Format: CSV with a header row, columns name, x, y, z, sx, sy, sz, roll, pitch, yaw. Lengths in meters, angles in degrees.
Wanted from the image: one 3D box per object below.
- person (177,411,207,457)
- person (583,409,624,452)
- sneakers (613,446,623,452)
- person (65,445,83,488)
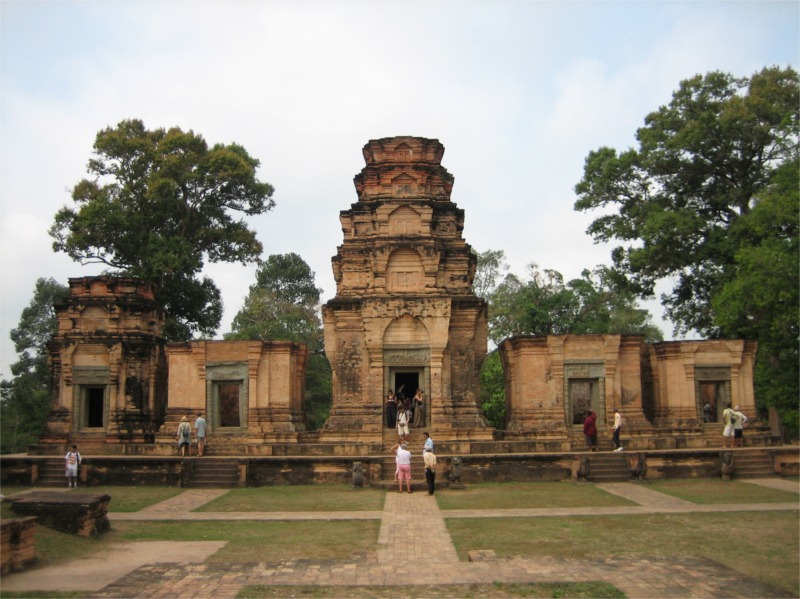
name,x,y,z,sx,sy,sz,roll,pitch,yaw
person,-8.211,5.341,33.370,1.502,2.169,0.719,-1,-1,7
person,8.147,5.232,33.873,1.443,1.780,0.735,0,-1,21
sneakers,8.251,5.621,32.117,0.350,0.217,0.123,-2,-49,10
person,-11.880,6.001,30.781,0.556,1.503,0.808,-2,4,-22
